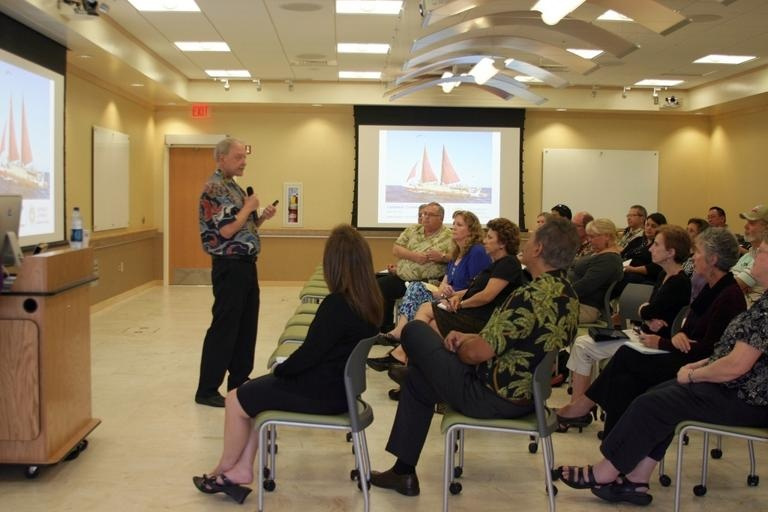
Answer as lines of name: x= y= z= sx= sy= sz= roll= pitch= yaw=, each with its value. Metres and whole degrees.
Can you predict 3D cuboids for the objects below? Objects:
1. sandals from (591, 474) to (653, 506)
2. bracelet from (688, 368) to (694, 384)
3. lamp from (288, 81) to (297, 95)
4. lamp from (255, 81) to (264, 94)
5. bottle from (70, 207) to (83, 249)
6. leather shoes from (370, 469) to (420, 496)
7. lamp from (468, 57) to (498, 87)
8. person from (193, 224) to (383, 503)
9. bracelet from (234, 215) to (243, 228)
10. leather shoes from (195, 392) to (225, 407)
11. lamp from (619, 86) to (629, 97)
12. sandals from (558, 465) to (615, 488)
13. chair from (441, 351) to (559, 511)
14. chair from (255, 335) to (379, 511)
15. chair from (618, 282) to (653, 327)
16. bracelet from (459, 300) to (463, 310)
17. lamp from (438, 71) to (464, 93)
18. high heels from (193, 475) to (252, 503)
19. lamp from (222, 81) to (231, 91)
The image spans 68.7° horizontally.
sandals: x=1.658 y=1.610 z=3.925 sx=0.370 sy=0.144 sz=0.185 roll=2 pitch=-4 yaw=11
bracelet: x=2.032 y=0.797 z=3.724 sx=0.032 sy=0.075 sz=0.058 roll=3 pitch=-15 yaw=8
lamp: x=-1.732 y=-3.174 z=10.523 sx=0.125 sy=0.209 sz=0.124 roll=0 pitch=6 yaw=-14
lamp: x=-2.331 y=-3.170 z=10.462 sx=0.148 sy=0.218 sz=0.278 roll=0 pitch=6 yaw=-18
bottle: x=-2.486 y=-0.234 z=4.551 sx=0.102 sy=0.301 sz=0.346 roll=-1 pitch=7 yaw=-29
leather shoes: x=0.089 y=1.592 z=4.016 sx=0.372 sy=0.132 sz=0.143 roll=5 pitch=-2 yaw=25
lamp: x=1.335 y=-2.501 z=7.605 sx=0.325 sy=0.248 sz=0.608 roll=1 pitch=6 yaw=-4
person: x=-0.573 y=0.744 z=3.758 sx=1.081 sy=1.881 sz=0.389 roll=0 pitch=6 yaw=-16
bracelet: x=-1.297 y=-0.305 z=5.019 sx=0.068 sy=0.066 sz=0.082 roll=2 pitch=-8 yaw=-4
leather shoes: x=-1.612 y=1.326 z=5.250 sx=0.350 sy=0.125 sz=0.123 roll=0 pitch=-2 yaw=12
lamp: x=4.597 y=-3.095 z=10.663 sx=0.172 sy=0.184 sz=0.260 roll=4 pitch=6 yaw=18
sandals: x=1.410 y=1.538 z=3.935 sx=0.387 sy=0.097 sz=0.143 roll=0 pitch=20 yaw=2
chair: x=0.850 y=1.152 z=4.021 sx=0.814 sy=1.091 sz=0.987 roll=3 pitch=6 yaw=10
chair: x=-0.367 y=1.151 z=4.356 sx=1.178 sy=1.477 sz=1.031 roll=2 pitch=-3 yaw=-2
chair: x=2.460 y=0.484 z=5.548 sx=0.361 sy=0.419 sz=0.351 roll=3 pitch=6 yaw=19
bracelet: x=0.734 y=0.470 z=5.327 sx=0.045 sy=0.057 sz=0.022 roll=-4 pitch=-6 yaw=39
lamp: x=1.065 y=-2.768 z=8.976 sx=0.114 sy=0.454 sz=0.457 roll=12 pitch=14 yaw=-36
high heels: x=-1.091 y=1.578 z=3.891 sx=0.415 sy=0.138 sz=0.161 roll=14 pitch=-2 yaw=11
lamp: x=-2.932 y=-3.159 z=10.404 sx=0.119 sy=0.115 sz=0.314 roll=0 pitch=40 yaw=-3
